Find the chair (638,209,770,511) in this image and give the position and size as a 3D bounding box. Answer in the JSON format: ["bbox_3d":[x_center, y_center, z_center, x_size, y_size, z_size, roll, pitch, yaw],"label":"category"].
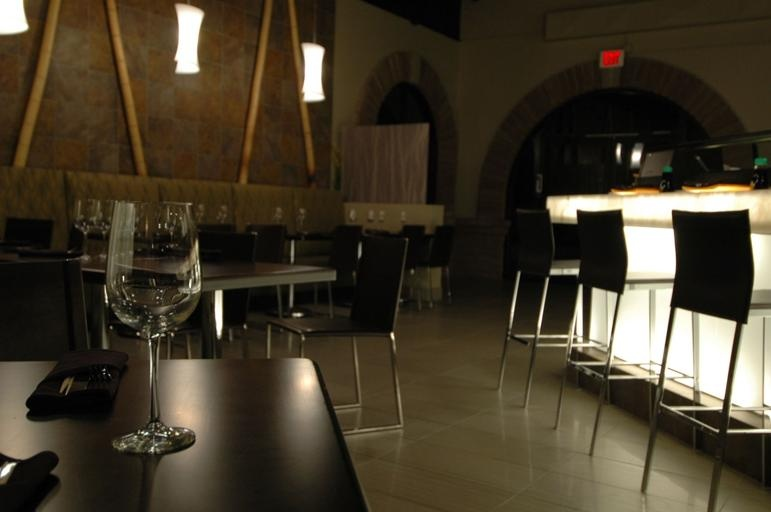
[{"bbox_3d":[1.435,0.425,2.613,0.474,1.288,0.840,7,11,25],"label":"chair"}]

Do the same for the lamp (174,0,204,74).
[{"bbox_3d":[-1.775,-1.960,5.430,0.233,0.568,0.291,-1,11,-17],"label":"lamp"}]

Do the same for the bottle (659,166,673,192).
[{"bbox_3d":[1.832,-0.500,3.891,0.073,0.156,0.306,7,11,25],"label":"bottle"}]
